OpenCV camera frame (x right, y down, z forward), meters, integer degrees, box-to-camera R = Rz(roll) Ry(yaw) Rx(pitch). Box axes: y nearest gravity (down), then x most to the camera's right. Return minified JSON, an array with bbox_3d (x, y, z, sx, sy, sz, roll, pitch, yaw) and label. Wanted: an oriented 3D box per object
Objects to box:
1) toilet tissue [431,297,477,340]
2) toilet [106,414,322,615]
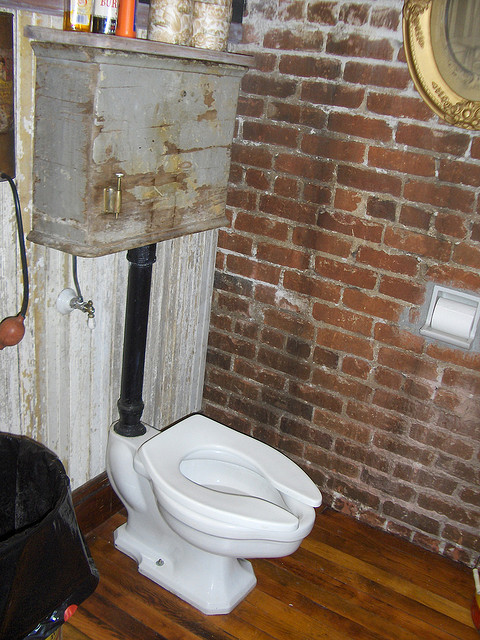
[{"bbox_3d":[0.590,-0.001,1.491,0.129,0.103,0.112,18,0,24],"label":"toilet tissue"},{"bbox_3d":[-0.111,0.543,1.473,0.587,0.395,0.365,19,20,27],"label":"toilet"}]
